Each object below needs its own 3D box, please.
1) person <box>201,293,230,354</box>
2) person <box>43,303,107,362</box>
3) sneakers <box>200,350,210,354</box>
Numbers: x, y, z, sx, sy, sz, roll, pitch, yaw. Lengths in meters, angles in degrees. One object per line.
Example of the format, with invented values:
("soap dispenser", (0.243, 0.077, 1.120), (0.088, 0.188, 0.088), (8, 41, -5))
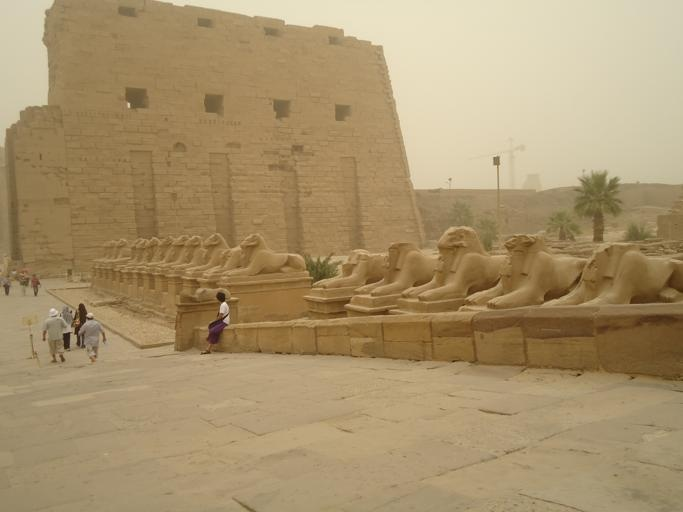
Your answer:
("person", (-1.971, 1.002, 8.786), (0.470, 0.879, 0.645), (-8, 5, -6))
("person", (-4.611, 1.357, 9.821), (0.956, 0.665, 0.468), (-1, 6, -16))
("sneakers", (-2.044, 1.444, 8.521), (0.122, 0.034, 0.152), (-7, 4, -14))
